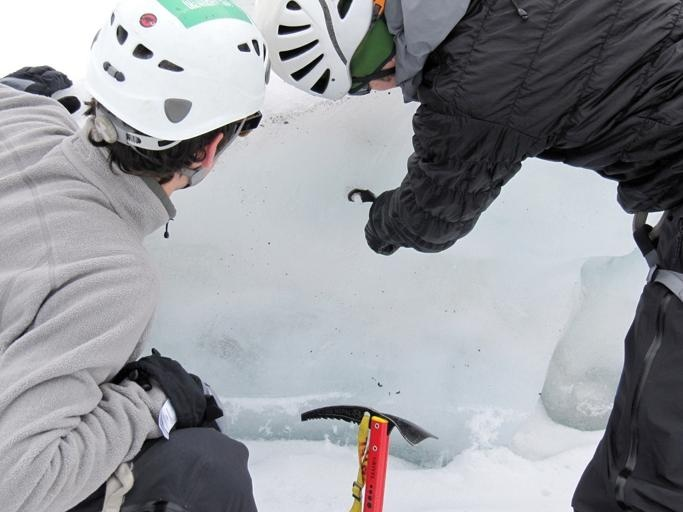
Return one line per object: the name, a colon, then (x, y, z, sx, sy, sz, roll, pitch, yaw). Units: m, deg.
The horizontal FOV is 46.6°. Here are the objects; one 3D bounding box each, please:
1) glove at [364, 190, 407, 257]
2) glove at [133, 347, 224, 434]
glove: (0.228, -0.132, 4.201, 0.230, 0.150, 0.330, 17, 19, -3)
glove: (-0.653, 0.591, 3.301, 0.413, 0.197, 0.306, 25, 4, 26)
